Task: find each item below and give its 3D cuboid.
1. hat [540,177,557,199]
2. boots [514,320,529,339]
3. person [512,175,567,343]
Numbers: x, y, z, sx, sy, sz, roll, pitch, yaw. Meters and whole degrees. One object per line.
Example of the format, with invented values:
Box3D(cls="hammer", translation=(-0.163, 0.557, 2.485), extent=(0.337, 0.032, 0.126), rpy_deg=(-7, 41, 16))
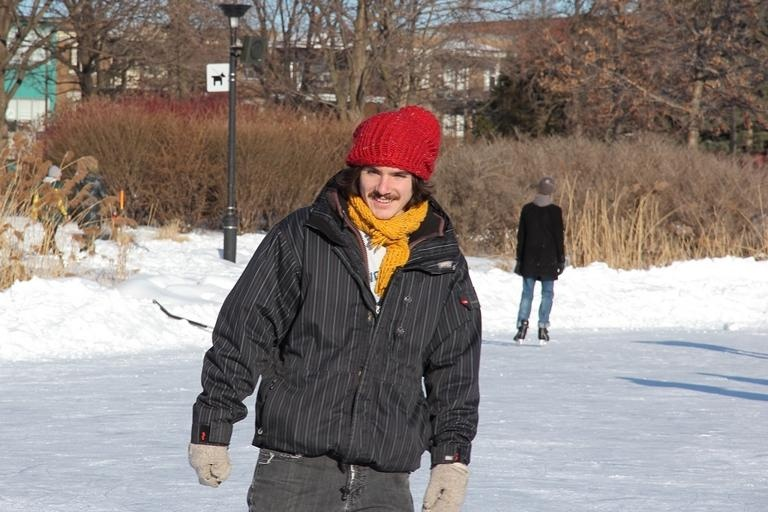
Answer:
Box3D(cls="hat", translation=(3.164, -1.341, 26.895), extent=(0.372, 0.381, 0.277), rpy_deg=(1, -1, -35))
Box3D(cls="boots", translation=(2.628, 1.449, 26.510), extent=(0.244, 0.313, 0.503), rpy_deg=(4, 2, 5))
Box3D(cls="person", translation=(2.996, 0.084, 26.575), extent=(0.928, 2.508, 0.823), rpy_deg=(4, 2, 6))
